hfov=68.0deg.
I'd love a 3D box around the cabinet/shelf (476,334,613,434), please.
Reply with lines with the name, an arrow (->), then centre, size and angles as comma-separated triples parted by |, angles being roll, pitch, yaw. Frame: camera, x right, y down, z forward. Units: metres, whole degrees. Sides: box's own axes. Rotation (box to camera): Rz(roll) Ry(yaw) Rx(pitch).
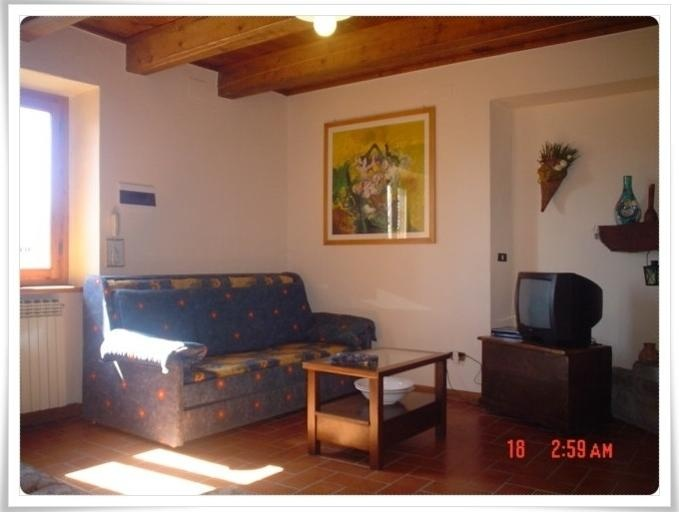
cabinet/shelf -> 1.623, 0.723, 3.942 | 0.614, 0.696, 1.039 | -2, 2, -34

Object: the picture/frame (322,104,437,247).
picture/frame -> 0.376, -0.785, 5.106 | 1.353, 1.344, 0.047 | 3, 6, 36

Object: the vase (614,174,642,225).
vase -> 2.398, -0.473, 4.193 | 0.144, 0.404, 0.177 | -1, 4, -12

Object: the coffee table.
coffee table -> 0.318, 0.981, 3.468 | 0.601, 0.576, 0.957 | -3, -5, 35

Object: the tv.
tv -> 1.618, 0.401, 3.962 | 0.564, 0.544, 0.585 | 0, -4, -20

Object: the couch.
couch -> -0.952, 0.710, 4.180 | 1.118, 1.136, 1.838 | 3, 4, 42

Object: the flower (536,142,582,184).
flower -> 1.986, -0.865, 4.590 | 0.353, 0.372, 0.177 | 1, 4, 22
